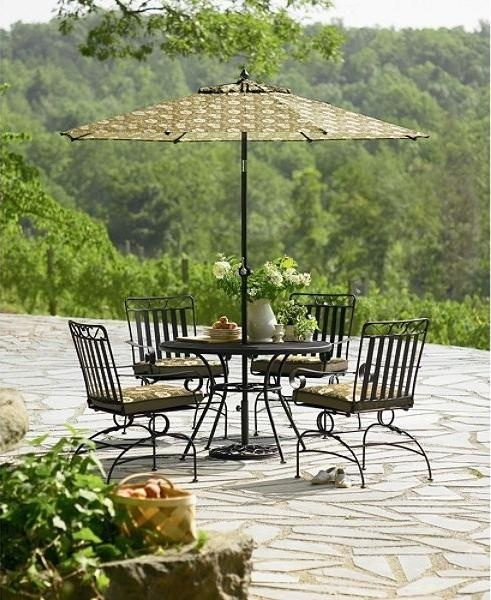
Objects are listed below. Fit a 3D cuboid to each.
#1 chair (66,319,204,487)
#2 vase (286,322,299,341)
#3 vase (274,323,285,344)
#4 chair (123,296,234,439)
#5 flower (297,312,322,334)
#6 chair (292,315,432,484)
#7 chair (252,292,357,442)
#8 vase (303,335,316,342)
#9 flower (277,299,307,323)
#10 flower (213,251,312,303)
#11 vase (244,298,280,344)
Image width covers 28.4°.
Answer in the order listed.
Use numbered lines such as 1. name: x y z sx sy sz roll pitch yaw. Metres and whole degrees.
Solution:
1. chair: -0.540 0.497 4.913 0.707 0.756 0.621 2 2 -4
2. vase: 0.268 0.184 5.559 0.097 0.090 0.089 2 -2 1
3. vase: 0.190 0.176 5.425 0.099 0.126 0.089 1 -10 -2
4. chair: -0.447 0.398 5.906 0.631 0.847 0.575 -2 1 -24
5. flower: 0.367 0.132 5.555 0.120 0.084 0.111 1 3 12
6. chair: 0.593 0.492 4.945 0.787 0.748 0.695 -1 -4 -1
7. chair: 0.358 0.378 5.972 0.685 0.749 0.654 -6 10 -33
8. vase: 0.368 0.213 5.531 0.049 0.034 0.045 0 -12 1
9. flower: 0.308 0.067 5.639 0.162 0.141 0.152 -3 7 -33
10. flower: 0.077 -0.156 5.572 0.455 0.252 0.408 7 15 0
11. vase: 0.064 0.105 5.463 0.211 0.228 0.254 1 6 -9
